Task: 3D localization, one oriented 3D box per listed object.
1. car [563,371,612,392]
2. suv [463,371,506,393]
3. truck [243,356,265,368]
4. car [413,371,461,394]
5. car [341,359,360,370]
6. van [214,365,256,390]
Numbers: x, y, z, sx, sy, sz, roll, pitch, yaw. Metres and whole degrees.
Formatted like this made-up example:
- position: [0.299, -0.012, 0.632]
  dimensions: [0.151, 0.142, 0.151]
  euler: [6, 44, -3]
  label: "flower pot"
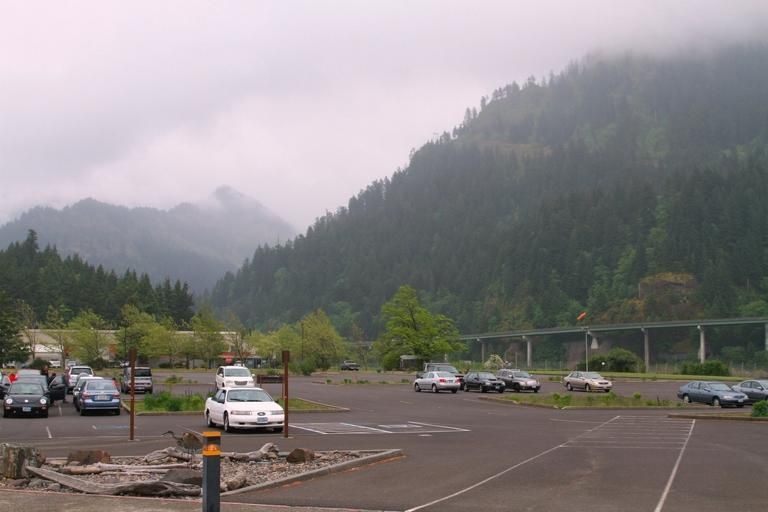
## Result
- position: [27.179, 16.754, 124.778]
  dimensions: [3.142, 2.778, 6.168]
  euler: [4, -10, -27]
  label: "car"
- position: [13.379, 16.792, 125.023]
  dimensions: [2.413, 2.759, 5.911]
  euler: [8, -11, -43]
  label: "suv"
- position: [-28.779, 23.687, 207.630]
  dimensions: [2.854, 2.069, 4.128]
  euler: [0, -3, -6]
  label: "truck"
- position: [6.694, 16.878, 126.124]
  dimensions: [2.676, 1.975, 5.893]
  euler: [2, -2, -31]
  label: "car"
- position: [-6.540, 23.090, 199.810]
  dimensions: [4.335, 2.151, 2.599]
  euler: [8, -11, -34]
  label: "car"
- position: [-18.958, 15.073, 119.299]
  dimensions: [2.919, 2.691, 5.565]
  euler: [2, -10, -19]
  label: "van"
